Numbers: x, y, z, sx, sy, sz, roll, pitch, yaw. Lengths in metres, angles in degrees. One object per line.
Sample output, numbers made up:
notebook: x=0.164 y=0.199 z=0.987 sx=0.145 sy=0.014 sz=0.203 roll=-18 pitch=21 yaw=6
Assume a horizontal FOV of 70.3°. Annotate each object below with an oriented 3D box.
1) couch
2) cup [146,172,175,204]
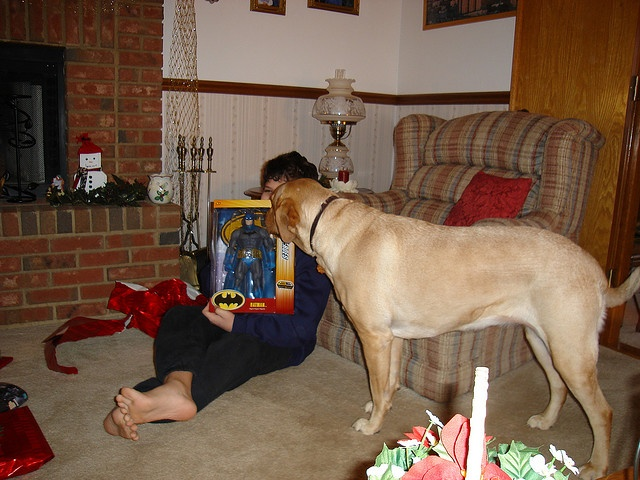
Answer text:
couch: x=0.709 y=-0.176 z=3.374 sx=1.774 sy=2.004 sz=2.109 roll=-13 pitch=20 yaw=-29
cup: x=-1.184 y=-0.376 z=3.371 sx=0.211 sy=0.211 sz=0.202 roll=3 pitch=-2 yaw=0
